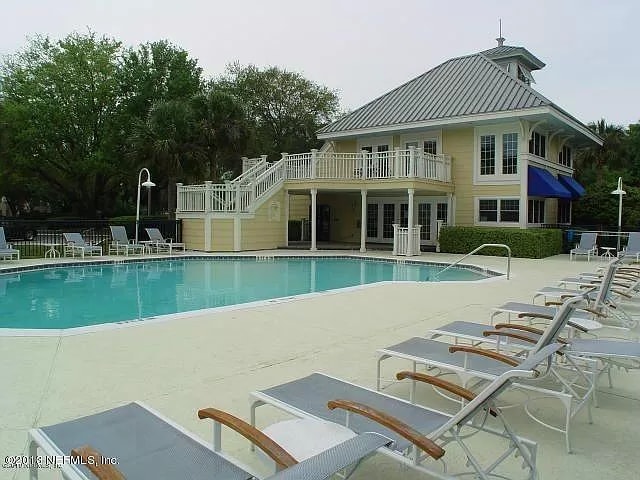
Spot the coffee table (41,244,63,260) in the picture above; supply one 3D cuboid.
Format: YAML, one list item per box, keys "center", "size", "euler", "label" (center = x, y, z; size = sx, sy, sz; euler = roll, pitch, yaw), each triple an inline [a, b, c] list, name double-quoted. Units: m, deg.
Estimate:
- center: [-11.324, 0.500, 19.832]
  size: [0.592, 0.465, 0.604]
  euler: [0, -1, 0]
  label: "coffee table"

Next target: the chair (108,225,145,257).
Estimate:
- center: [-8.527, 0.018, 20.746]
  size: [1.446, 1.244, 1.960]
  euler: [-2, 3, -23]
  label: "chair"

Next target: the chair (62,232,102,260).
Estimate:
- center: [-9.630, 0.239, 19.126]
  size: [1.957, 1.258, 1.094]
  euler: [4, 4, 34]
  label: "chair"

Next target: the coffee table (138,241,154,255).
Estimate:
- center: [-7.896, 0.352, 21.484]
  size: [0.744, 0.746, 0.582]
  euler: [-1, -2, 24]
  label: "coffee table"

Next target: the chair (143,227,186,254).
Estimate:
- center: [-7.323, 0.052, 21.881]
  size: [1.826, 1.232, 1.082]
  euler: [1, 2, 34]
  label: "chair"
